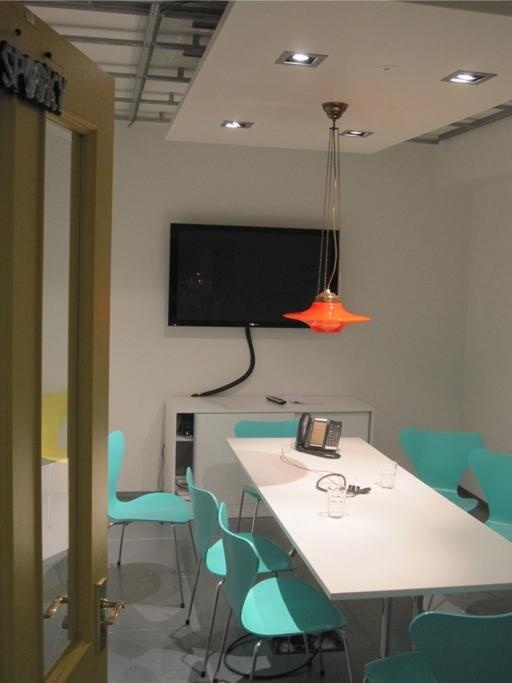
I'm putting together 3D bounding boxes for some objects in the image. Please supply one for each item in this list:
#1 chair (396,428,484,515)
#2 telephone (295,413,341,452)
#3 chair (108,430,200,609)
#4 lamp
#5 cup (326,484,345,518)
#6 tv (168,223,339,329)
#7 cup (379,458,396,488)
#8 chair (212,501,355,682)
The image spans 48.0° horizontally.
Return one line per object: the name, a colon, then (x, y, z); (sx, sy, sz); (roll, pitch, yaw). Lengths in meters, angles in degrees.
chair: (1.253, 0.821, 3.911); (0.510, 0.833, 0.571); (0, 10, 16)
telephone: (0.400, 0.591, 3.661); (0.260, 0.210, 0.279); (6, -15, 7)
chair: (-0.656, 1.037, 3.487); (0.571, 0.913, 0.538); (2, 3, -10)
lamp: (0.382, -0.618, 2.929); (0.454, 1.108, 0.452); (-6, 13, -35)
cup: (0.362, 0.715, 2.555); (0.083, 0.130, 0.083); (0, 7, 0)
tv: (-0.087, -0.538, 4.721); (0.935, 0.620, 0.042); (1, 3, -12)
cup: (0.700, 0.709, 3.037); (0.085, 0.141, 0.088); (0, 1, 0)
chair: (0.093, 0.909, 2.320); (0.476, 0.385, 0.412); (1, 5, -12)
